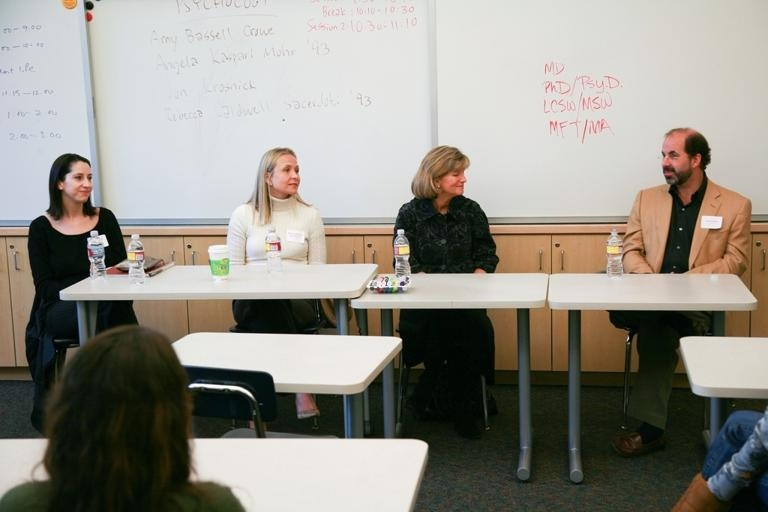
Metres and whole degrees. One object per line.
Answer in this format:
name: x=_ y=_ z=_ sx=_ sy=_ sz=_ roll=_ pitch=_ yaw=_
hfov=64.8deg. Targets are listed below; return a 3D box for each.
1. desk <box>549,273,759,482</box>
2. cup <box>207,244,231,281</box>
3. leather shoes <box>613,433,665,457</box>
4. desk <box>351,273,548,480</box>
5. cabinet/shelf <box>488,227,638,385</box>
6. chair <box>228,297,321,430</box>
desk: x=1.355 y=0.479 z=3.397 sx=1.119 sy=1.080 sz=1.043 roll=-1 pitch=6 yaw=3
cup: x=-0.910 y=0.037 z=3.485 sx=0.162 sy=0.231 sz=0.175 roll=1 pitch=6 yaw=0
leather shoes: x=1.361 y=1.028 z=3.254 sx=0.274 sy=0.103 sz=0.111 roll=-2 pitch=7 yaw=-15
desk: x=0.444 y=0.615 z=3.526 sx=0.988 sy=0.892 sz=1.062 roll=-1 pitch=5 yaw=5
cabinet/shelf: x=1.127 y=0.268 z=3.711 sx=1.017 sy=0.987 sz=0.400 roll=0 pitch=3 yaw=6
chair: x=-0.593 y=0.564 z=3.878 sx=0.676 sy=0.922 sz=0.625 roll=3 pitch=17 yaw=8
